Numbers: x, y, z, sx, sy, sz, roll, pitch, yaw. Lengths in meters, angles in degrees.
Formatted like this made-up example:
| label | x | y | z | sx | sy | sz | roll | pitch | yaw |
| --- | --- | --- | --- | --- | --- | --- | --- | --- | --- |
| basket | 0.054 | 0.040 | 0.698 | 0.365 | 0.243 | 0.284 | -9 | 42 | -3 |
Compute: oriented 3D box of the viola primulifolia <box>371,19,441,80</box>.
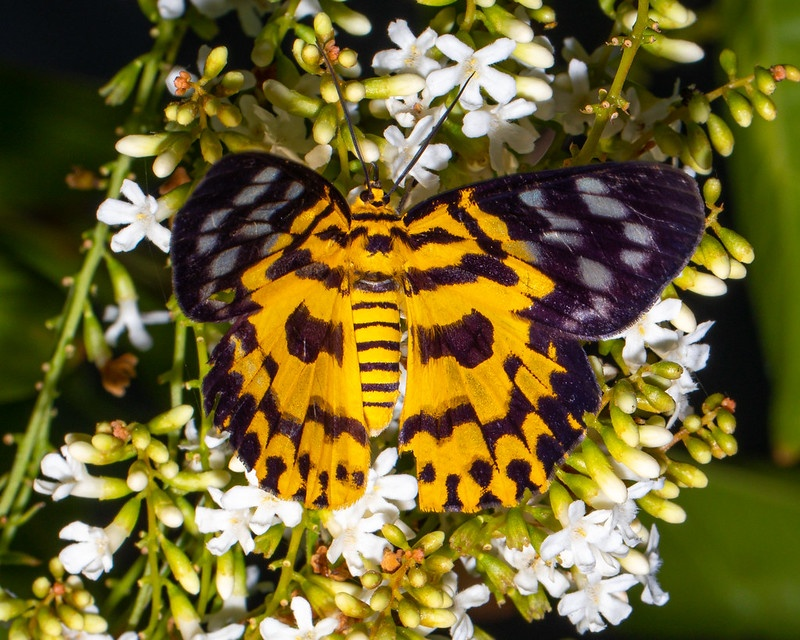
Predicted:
| label | x | y | z | sx | sy | sz | roll | pitch | yaw |
| --- | --- | --- | --- | --- | --- | --- | --- | --- | --- |
| viola primulifolia | 0.014 | -0.508 | 2.053 | 0.124 | 0.046 | 0.115 | 19 | 99 | -8 |

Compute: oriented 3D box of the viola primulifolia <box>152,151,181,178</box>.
| label | x | y | z | sx | sy | sz | roll | pitch | yaw |
| --- | --- | --- | --- | --- | --- | --- | --- | --- | --- |
| viola primulifolia | -0.435 | -0.282 | 2.007 | 0.034 | 0.017 | 0.053 | 28 | 64 | 8 |

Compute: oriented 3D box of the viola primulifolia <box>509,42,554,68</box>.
| label | x | y | z | sx | sy | sz | roll | pitch | yaw |
| --- | --- | --- | --- | --- | --- | --- | --- | --- | --- |
| viola primulifolia | 0.255 | -0.504 | 2.060 | 0.073 | 0.025 | 0.042 | 37 | 86 | 2 |

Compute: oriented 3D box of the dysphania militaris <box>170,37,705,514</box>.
| label | x | y | z | sx | sy | sz | roll | pitch | yaw |
| --- | --- | --- | --- | --- | --- | --- | --- | --- | --- |
| dysphania militaris | -0.070 | -0.004 | 2.034 | 0.967 | 0.224 | 0.731 | 9 | 107 | 15 |

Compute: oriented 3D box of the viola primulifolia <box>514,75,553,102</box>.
| label | x | y | z | sx | sy | sz | roll | pitch | yaw |
| --- | --- | --- | --- | --- | --- | --- | --- | --- | --- |
| viola primulifolia | 0.254 | -0.439 | 2.063 | 0.067 | 0.024 | 0.038 | 34 | 51 | 23 |
